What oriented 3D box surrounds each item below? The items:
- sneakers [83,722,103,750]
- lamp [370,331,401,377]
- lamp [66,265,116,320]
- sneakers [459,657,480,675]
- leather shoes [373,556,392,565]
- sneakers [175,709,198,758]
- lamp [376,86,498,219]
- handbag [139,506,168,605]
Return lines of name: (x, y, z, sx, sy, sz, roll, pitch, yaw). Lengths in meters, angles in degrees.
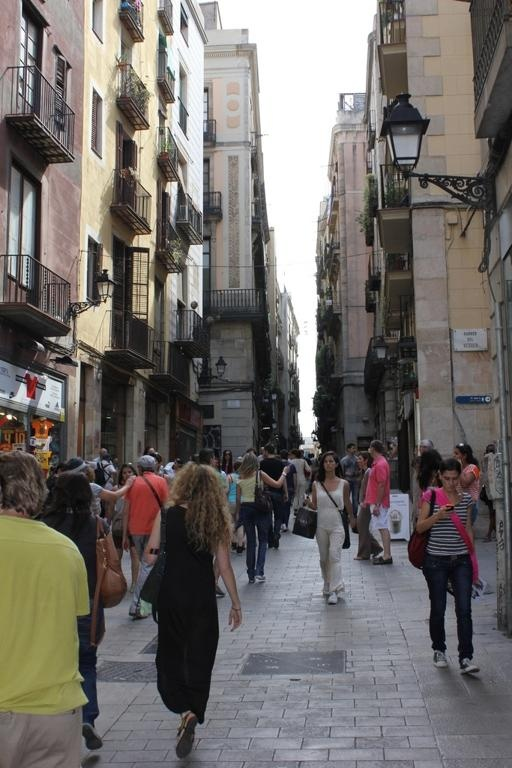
sneakers: (-0.895, 1.946, 4.406, 0.067, 0.210, 0.077, -15, 32, -10)
lamp: (4.565, -1.127, 28.233, 0.670, 1.108, 2.642, -2, -6, 4)
lamp: (-3.856, -2.129, 19.481, 1.037, 1.599, 0.736, -4, -6, 7)
sneakers: (1.576, 2.102, 5.919, 0.065, 0.101, 0.206, 0, -2, 6)
leather shoes: (2.071, 2.925, 13.097, 0.222, 0.108, 0.140, 2, -5, 15)
sneakers: (-0.355, 1.856, 4.219, 0.081, 0.288, 0.105, 8, -2, -15)
lamp: (2.047, -2.638, 9.238, 0.992, 1.758, 0.440, -2, -20, 9)
handbag: (-0.608, 1.053, 4.687, 0.168, 0.614, 0.215, 2, -7, -31)
